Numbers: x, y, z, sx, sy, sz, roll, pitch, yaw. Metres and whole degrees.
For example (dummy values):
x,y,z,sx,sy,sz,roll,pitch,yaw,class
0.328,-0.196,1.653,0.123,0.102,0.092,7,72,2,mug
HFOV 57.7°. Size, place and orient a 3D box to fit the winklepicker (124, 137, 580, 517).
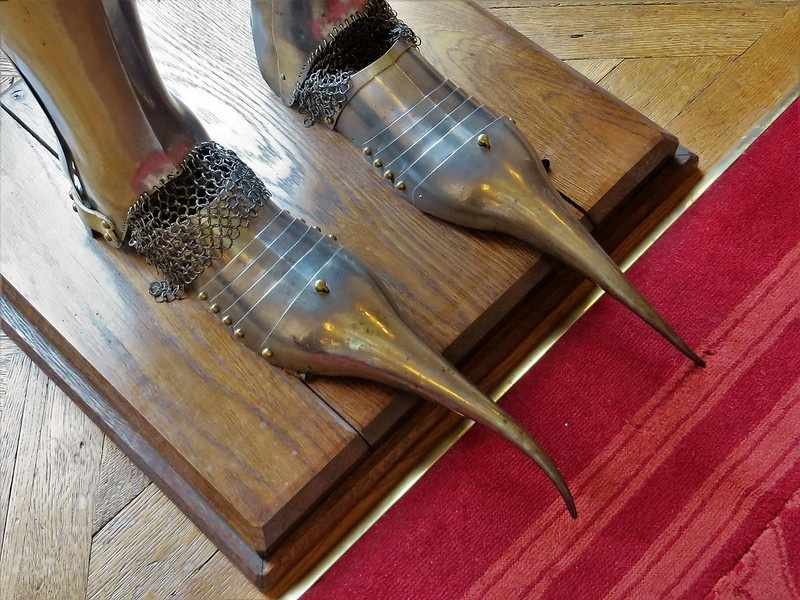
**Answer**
x,y,z,sx,sy,sz,roll,pitch,yaw,class
-0.071,0.036,0.783,0.646,0.176,0.216,34,53,30,winklepicker
